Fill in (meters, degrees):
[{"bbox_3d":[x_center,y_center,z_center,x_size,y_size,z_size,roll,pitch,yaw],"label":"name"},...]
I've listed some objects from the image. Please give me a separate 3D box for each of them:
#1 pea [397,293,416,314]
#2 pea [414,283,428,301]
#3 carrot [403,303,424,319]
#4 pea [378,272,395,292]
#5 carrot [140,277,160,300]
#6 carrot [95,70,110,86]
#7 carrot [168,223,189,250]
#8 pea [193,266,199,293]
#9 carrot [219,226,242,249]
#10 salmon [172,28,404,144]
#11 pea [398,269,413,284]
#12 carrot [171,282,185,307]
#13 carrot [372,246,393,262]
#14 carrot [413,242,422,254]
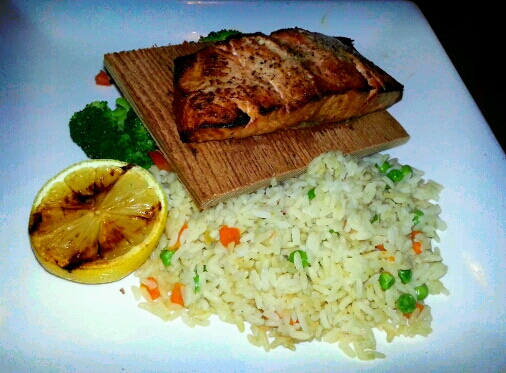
[{"bbox_3d":[1.134,0.867,3.574,0.113,0.083,0.145,-1,73,10],"label":"pea"},{"bbox_3d":[1.281,0.802,3.671,0.093,0.071,0.117,-4,73,14],"label":"pea"},{"bbox_3d":[1.210,0.938,3.644,0.114,0.059,0.115,-22,24,23],"label":"carrot"},{"bbox_3d":[0.990,0.704,3.572,0.099,0.075,0.128,2,81,12],"label":"pea"},{"bbox_3d":[-0.755,0.755,3.582,0.141,0.045,0.151,-15,79,-34],"label":"carrot"},{"bbox_3d":[-1.287,-0.911,4.109,0.099,0.012,0.120,8,64,-11],"label":"carrot"},{"bbox_3d":[-0.566,0.382,3.656,0.042,0.168,0.159,23,70,8],"label":"carrot"},{"bbox_3d":[-0.426,0.699,3.597,0.038,0.045,0.169,-2,96,-22],"label":"pea"},{"bbox_3d":[-0.174,0.373,3.632,0.165,0.117,0.119,-3,41,-3],"label":"carrot"},{"bbox_3d":[0.260,-0.879,3.927,1.928,0.399,1.046,-15,48,-24],"label":"salmon"},{"bbox_3d":[1.143,0.663,3.646,0.092,0.064,0.111,-13,95,-18],"label":"pea"},{"bbox_3d":[-0.537,0.795,3.523,0.129,0.034,0.129,11,77,-21],"label":"carrot"},{"bbox_3d":[0.980,0.503,3.672,0.135,0.033,0.087,38,45,26],"label":"carrot"},{"bbox_3d":[1.289,0.479,3.800,0.069,0.044,0.080,11,67,-4],"label":"carrot"}]
